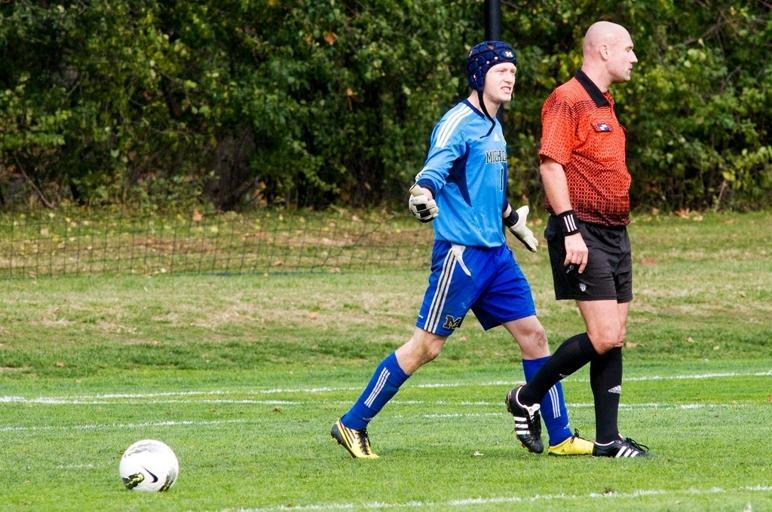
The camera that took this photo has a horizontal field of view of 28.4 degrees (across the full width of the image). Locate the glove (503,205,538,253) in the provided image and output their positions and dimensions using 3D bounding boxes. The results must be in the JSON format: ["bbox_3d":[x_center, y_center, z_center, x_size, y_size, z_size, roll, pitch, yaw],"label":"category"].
[{"bbox_3d":[1.746,-0.296,18.738,0.164,0.512,0.514,-28,-42,23],"label":"glove"}]

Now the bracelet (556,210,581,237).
[{"bbox_3d":[2.140,-0.361,17.935,0.247,0.291,0.103,0,14,4],"label":"bracelet"}]

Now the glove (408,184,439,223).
[{"bbox_3d":[0.410,-0.568,17.961,0.201,0.424,0.327,-40,-7,-14],"label":"glove"}]
